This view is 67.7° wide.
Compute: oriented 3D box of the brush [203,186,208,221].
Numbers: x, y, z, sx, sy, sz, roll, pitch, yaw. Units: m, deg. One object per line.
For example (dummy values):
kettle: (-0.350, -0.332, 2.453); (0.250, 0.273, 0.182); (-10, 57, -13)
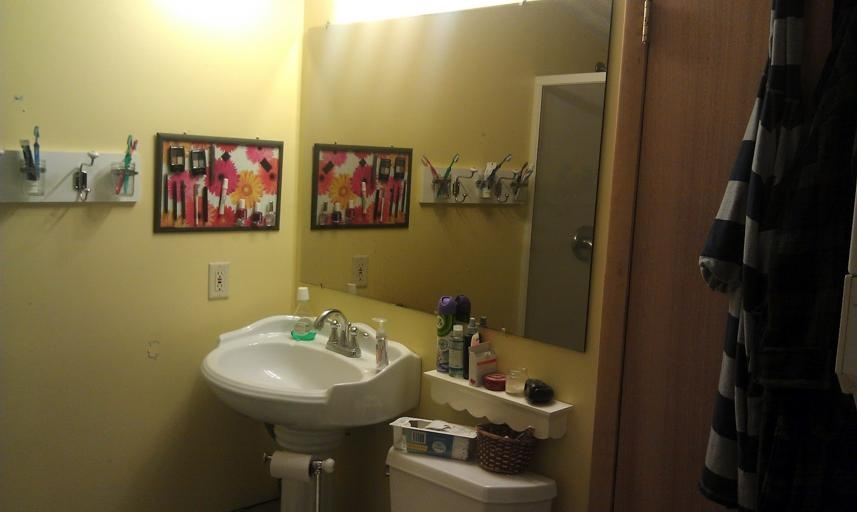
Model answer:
brush: (-1.055, -0.250, 3.033); (0.021, 0.157, 0.024); (1, 2, 38)

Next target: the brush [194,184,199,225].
brush: (-1.095, -0.243, 3.016); (0.024, 0.190, 0.005); (-6, 11, -37)

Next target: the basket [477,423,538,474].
basket: (0.313, 0.745, 2.491); (0.208, 0.124, 0.176); (1, 7, -35)

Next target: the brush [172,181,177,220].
brush: (-1.176, -0.252, 2.969); (0.026, 0.164, 0.007); (2, 5, -21)

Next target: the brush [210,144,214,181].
brush: (-1.022, -0.442, 3.024); (0.032, 0.165, 0.016); (-3, 10, -20)

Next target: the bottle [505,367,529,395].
bottle: (0.340, 0.492, 2.468); (0.093, 0.096, 0.070); (4, -2, -18)

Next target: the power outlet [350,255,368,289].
power outlet: (-0.321, 0.072, 3.003); (0.120, 0.214, 0.023); (13, 17, 41)

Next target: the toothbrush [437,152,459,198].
toothbrush: (0.084, -0.333, 2.683); (0.057, 0.204, 0.022); (23, 17, 30)

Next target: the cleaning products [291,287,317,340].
cleaning products: (-0.614, 0.281, 3.148); (0.167, 0.263, 0.171); (1, 10, 0)

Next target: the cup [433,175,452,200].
cup: (0.058, -0.294, 2.698); (0.085, 0.112, 0.081); (4, 4, 0)

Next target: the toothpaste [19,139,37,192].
toothpaste: (-1.678, -0.376, 2.689); (0.057, 0.216, 0.077); (-6, 11, -37)

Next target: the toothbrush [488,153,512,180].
toothbrush: (0.285, -0.358, 2.539); (0.044, 0.133, 0.041); (36, 24, -18)

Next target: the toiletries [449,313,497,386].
toiletries: (0.177, 0.383, 2.600); (0.188, 0.243, 0.124); (9, 12, 42)

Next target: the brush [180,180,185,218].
brush: (-1.144, -0.258, 2.985); (0.031, 0.184, 0.007); (-6, 11, -37)

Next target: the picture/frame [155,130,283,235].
picture/frame: (-1.021, -0.358, 3.041); (0.501, 0.407, 0.025); (-3, 15, -32)

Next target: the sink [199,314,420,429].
sink: (-0.529, 0.555, 2.829); (0.736, 0.302, 0.543); (10, 11, 42)
